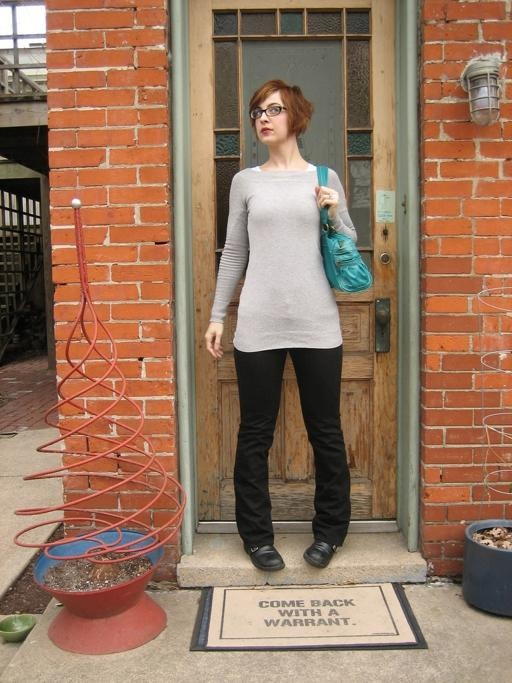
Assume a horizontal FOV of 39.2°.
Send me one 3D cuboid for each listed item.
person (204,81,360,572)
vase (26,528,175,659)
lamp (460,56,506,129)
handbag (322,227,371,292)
[{"bbox_3d":[0.088,-0.041,2.698,0.572,1.836,0.335,-1,8,6],"label":"person"},{"bbox_3d":[-0.528,0.871,2.521,0.454,0.236,0.428,6,14,29],"label":"vase"},{"bbox_3d":[0.849,-0.940,2.646,0.163,0.268,0.138,-3,8,-6],"label":"lamp"},{"bbox_3d":[0.321,-0.297,2.641,0.138,0.214,0.212,-28,35,-3],"label":"handbag"}]
